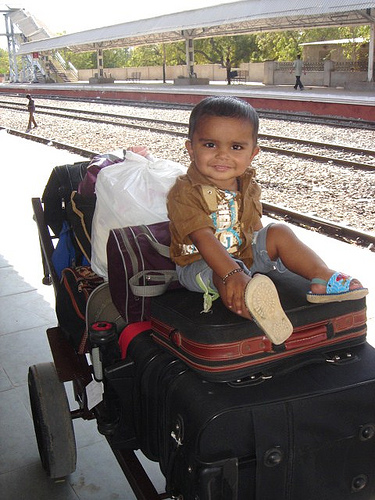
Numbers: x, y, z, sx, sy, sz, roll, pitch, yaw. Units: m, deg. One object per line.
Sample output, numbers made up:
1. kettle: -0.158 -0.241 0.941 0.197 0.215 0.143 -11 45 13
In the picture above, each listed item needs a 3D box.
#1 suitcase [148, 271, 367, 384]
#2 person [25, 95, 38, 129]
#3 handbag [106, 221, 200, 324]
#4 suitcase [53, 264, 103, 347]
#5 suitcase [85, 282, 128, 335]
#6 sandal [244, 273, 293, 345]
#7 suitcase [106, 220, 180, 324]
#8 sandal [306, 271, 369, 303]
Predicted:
1. suitcase: 0.212 0.193 1.073 0.403 0.112 0.293 -16 27 -35
2. person: -5.690 -5.056 14.683 0.369 1.146 1.976 -7 16 -19
3. handbag: -0.109 0.076 1.350 0.349 0.312 0.181 -13 13 -31
4. suitcase: -0.489 0.258 1.828 0.178 0.295 0.322 -2 28 -29
5. suitcase: -0.336 0.228 1.586 0.147 0.181 0.057 -9 7 -27
6. sandal: 0.202 0.155 0.963 0.144 0.187 0.095 -3 16 -6
7. suitcase: -0.149 0.082 1.392 0.178 0.298 0.328 10 27 40
8. sandal: 0.401 0.104 1.106 0.190 0.076 0.072 -5 15 7
